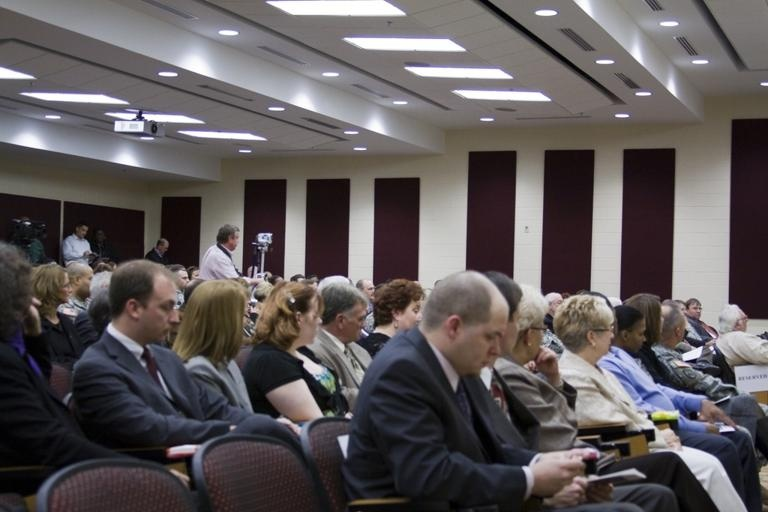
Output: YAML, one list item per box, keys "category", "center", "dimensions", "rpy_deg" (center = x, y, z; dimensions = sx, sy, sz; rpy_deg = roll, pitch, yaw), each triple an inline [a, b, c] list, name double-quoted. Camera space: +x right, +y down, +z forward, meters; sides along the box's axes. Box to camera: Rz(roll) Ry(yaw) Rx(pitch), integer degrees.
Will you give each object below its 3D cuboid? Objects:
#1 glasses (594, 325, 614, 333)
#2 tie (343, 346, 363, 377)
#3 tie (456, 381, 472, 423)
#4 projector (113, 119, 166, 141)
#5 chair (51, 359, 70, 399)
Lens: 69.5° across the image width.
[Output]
- category: "glasses"
  center: [1.542, 0.513, 3.878]
  dimensions: [0.172, 0.036, 0.045]
  rpy_deg: [4, -3, -33]
- category: "tie"
  center: [-0.234, 0.820, 4.306]
  dimensions: [0.046, 0.198, 0.202]
  rpy_deg: [-21, -20, 5]
- category: "tie"
  center: [0.356, 0.650, 2.468]
  dimensions: [0.035, 0.155, 0.109]
  rpy_deg: [-12, 6, 14]
- category: "projector"
  center: [-4.429, -2.310, 9.978]
  dimensions: [0.762, 0.256, 0.554]
  rpy_deg: [3, -3, -22]
- category: "chair"
  center: [-2.016, 0.765, 3.437]
  dimensions: [0.105, 0.164, 0.474]
  rpy_deg: [3, -3, -30]
